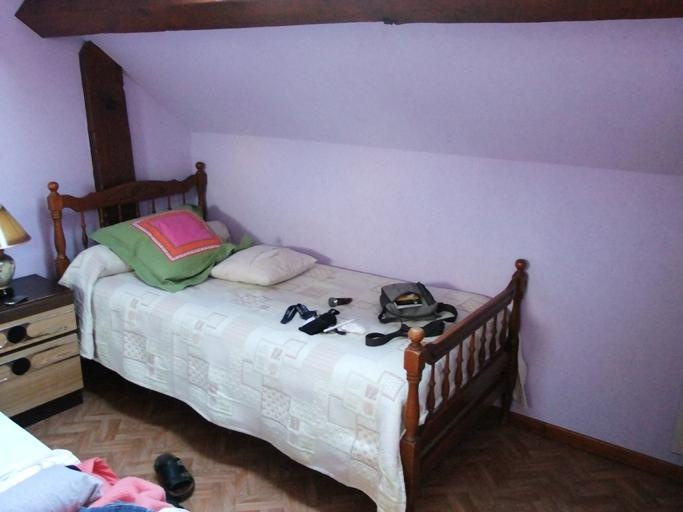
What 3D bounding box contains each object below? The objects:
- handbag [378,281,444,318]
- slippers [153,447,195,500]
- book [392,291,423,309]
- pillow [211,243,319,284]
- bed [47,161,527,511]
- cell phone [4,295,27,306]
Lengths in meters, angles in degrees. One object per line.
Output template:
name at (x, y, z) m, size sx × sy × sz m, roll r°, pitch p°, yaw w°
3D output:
handbag at (0.354, 0.248, 2.898) m, size 0.332 × 0.111 × 0.364 m, roll -4°, pitch 18°, yaw -7°
slippers at (-0.855, 1.107, 2.646) m, size 0.130 × 0.086 × 0.268 m, roll -7°, pitch 34°, yaw -41°
book at (0.368, 0.236, 2.851) m, size 0.113 × 0.035 × 0.085 m, roll -5°, pitch 21°, yaw -7°
pillow at (-0.512, 0.051, 3.265) m, size 0.310 × 0.111 × 0.353 m, roll 7°, pitch 18°, yaw 27°
bed at (-0.363, 0.422, 3.131) m, size 2.605 × 0.917 × 1.224 m, roll 8°, pitch 17°, yaw 27°
cell phone at (-1.797, 0.239, 2.858) m, size 0.080 × 0.016 × 0.138 m, roll 9°, pitch 16°, yaw 19°
